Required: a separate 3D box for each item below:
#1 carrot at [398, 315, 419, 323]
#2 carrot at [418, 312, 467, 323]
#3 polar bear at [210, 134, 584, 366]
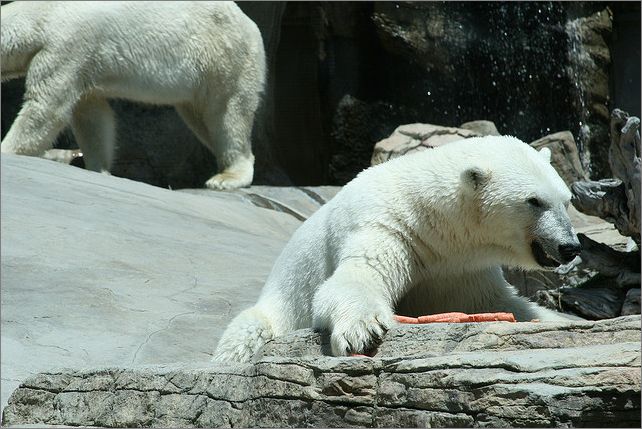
[{"bbox_3d":[0.635,0.765,6.465,0.183,0.040,0.170,-1,6,-8],"label":"carrot"},{"bbox_3d":[0.880,0.751,6.419,0.349,0.066,0.089,0,6,2],"label":"carrot"},{"bbox_3d":[0.618,0.205,6.912,2.271,1.388,1.676,-12,-16,40],"label":"polar bear"}]
